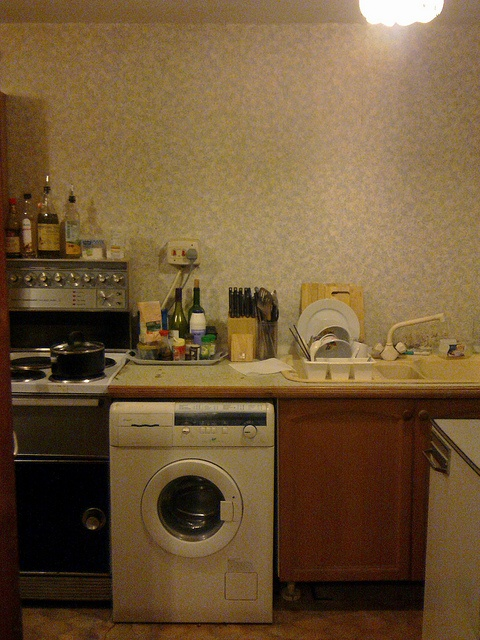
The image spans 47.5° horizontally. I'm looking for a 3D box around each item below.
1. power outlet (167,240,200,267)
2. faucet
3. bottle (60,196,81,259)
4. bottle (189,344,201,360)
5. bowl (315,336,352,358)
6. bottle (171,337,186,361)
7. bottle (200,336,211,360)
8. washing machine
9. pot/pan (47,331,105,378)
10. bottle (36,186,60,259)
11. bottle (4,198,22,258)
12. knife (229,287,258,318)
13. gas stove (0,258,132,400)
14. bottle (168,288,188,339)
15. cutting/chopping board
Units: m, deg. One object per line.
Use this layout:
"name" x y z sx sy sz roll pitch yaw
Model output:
"power outlet" -0.259 -0.313 2.517 0.171 0.157 0.100 -1 3 -2
"faucet" 0.761 0.074 2.436 0.255 0.208 0.166 1 7 14
"bottle" -0.785 -0.420 2.536 0.089 0.261 0.159 -3 7 -18
"bottle" -0.196 0.141 2.336 0.041 0.061 0.041 -1 7 0
"bowl" 0.407 0.122 2.353 0.163 0.089 0.095 -2 7 -11
"bottle" -0.259 0.131 2.320 0.074 0.138 0.077 1 0 0
"bottle" -0.148 0.121 2.359 0.046 0.094 0.033 -1 7 0
"washing machine" -0.165 0.678 2.276 0.739 1.110 0.715 0 0 -1
"pot/pan" -0.622 0.117 2.100 0.174 0.166 0.171 2 5 9
"bottle" -0.881 -0.459 2.504 0.105 0.345 0.135 -4 8 -20
"bottle" -1.025 -0.411 2.478 0.061 0.254 0.155 -2 7 -10
"knife" 0.015 -0.061 2.445 0.112 0.165 0.158 -1 3 1
"gas stove" -0.773 -0.001 2.236 0.567 0.498 0.633 -1 7 -3
"bottle" -0.277 -0.034 2.479 0.087 0.225 0.270 -2 7 -5
"cutting/chopping board" 0.425 -0.028 2.512 0.262 0.262 0.068 1 -6 -2
